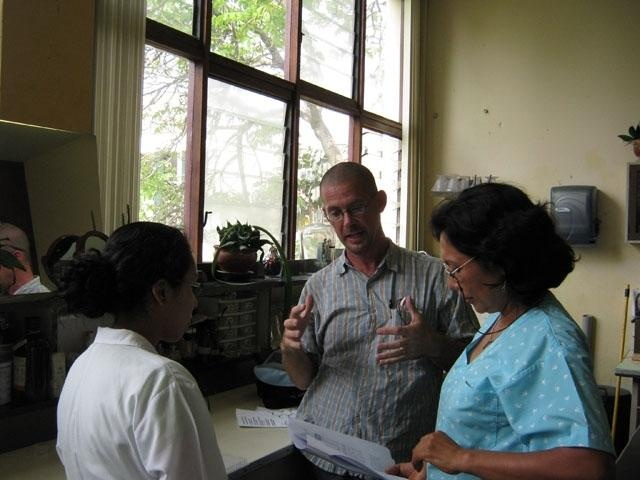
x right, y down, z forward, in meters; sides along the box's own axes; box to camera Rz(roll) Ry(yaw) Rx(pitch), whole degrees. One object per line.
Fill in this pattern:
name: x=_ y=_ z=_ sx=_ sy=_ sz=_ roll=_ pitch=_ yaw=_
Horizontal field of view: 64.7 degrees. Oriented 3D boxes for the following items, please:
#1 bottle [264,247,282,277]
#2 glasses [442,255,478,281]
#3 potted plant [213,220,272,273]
bottle: x=-0.301 y=0.136 z=3.281 sx=0.157 sy=0.256 sz=0.159 roll=1 pitch=-2 yaw=0
glasses: x=0.417 y=0.081 z=1.505 sx=0.062 sy=0.020 sz=0.061 roll=-41 pitch=2 yaw=4
potted plant: x=-0.474 y=0.078 z=2.971 sx=0.284 sy=0.241 sz=0.296 roll=2 pitch=-10 yaw=1
